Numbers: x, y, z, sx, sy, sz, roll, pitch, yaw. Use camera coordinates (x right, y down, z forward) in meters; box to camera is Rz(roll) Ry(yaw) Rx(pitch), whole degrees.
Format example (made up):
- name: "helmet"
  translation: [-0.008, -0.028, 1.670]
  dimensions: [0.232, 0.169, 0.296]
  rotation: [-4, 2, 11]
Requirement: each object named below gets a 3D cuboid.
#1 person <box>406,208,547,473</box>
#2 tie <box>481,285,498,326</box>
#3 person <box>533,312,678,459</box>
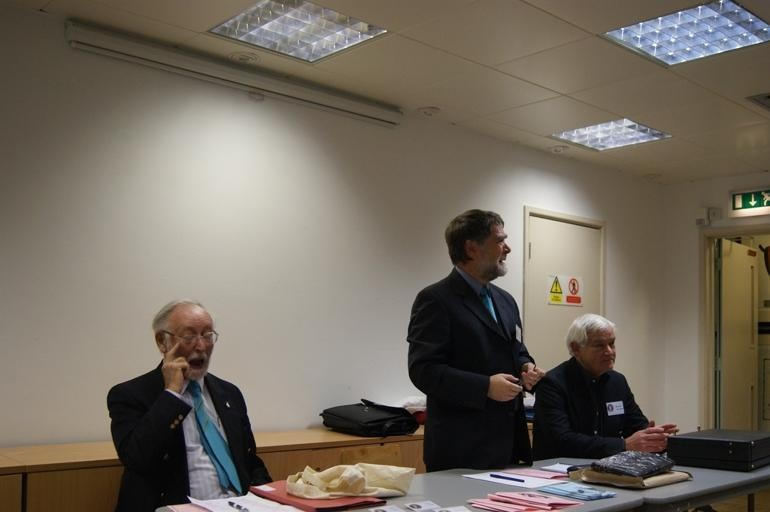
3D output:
- name: "person"
  translation: [0.505, 0.456, 2.947]
  dimensions: [0.715, 1.431, 0.634]
  rotation: [5, 5, 17]
- name: "tie"
  translation: [0.588, 0.272, 3.018]
  dimensions: [0.054, 0.237, 0.059]
  rotation: [-9, -41, -3]
- name: "person"
  translation: [1.337, 0.868, 3.413]
  dimensions: [0.719, 0.911, 0.606]
  rotation: [5, 4, 5]
